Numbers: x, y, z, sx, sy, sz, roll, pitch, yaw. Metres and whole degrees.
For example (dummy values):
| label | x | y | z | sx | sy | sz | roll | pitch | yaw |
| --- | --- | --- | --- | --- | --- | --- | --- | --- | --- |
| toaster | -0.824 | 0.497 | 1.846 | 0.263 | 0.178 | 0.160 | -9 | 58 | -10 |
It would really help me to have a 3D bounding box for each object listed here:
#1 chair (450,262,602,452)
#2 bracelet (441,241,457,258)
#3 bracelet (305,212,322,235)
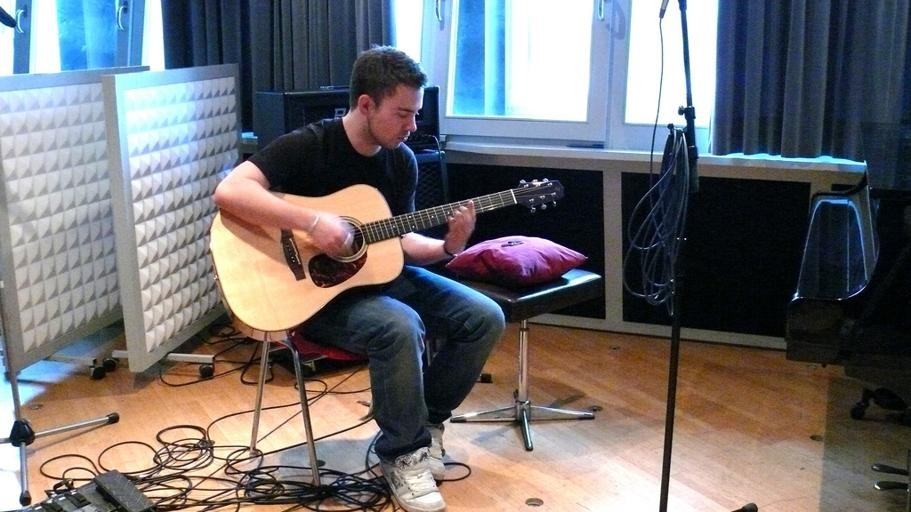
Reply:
| label | x | y | z | sx | sy | sz | roll | pitch | yaw |
| --- | --- | --- | --- | --- | --- | --- | --- | --- | --- |
| chair | 0.387 | 0.491 | 3.598 | 0.666 | 0.729 | 0.835 | -16 | -23 | 31 |
| bracelet | -0.030 | -0.023 | 3.216 | 0.074 | 0.049 | 0.069 | 4 | 7 | -5 |
| bracelet | -0.627 | -0.135 | 3.050 | 0.018 | 0.067 | 0.074 | 36 | -40 | -27 |
